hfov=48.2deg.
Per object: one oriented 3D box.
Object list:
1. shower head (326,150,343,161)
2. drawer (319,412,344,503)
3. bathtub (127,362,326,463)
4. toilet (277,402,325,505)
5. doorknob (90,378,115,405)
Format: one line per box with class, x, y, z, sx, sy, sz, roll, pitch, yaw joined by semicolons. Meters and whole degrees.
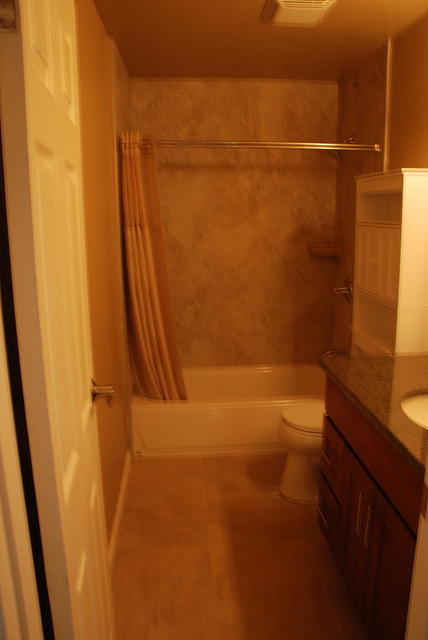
shower head;0.844;-1.147;3.329;0.030;0.058;0.141;-11;18;-24
drawer;0.455;0.558;1.906;0.066;0.217;0.119;1;13;2
bathtub;0.038;0.585;2.944;1.016;0.414;0.442;-2;11;-3
toilet;0.488;0.728;2.556;0.278;0.424;0.339;4;7;-7
doorknob;-0.297;0.189;1.293;0.053;0.094;0.063;-1;17;-2
